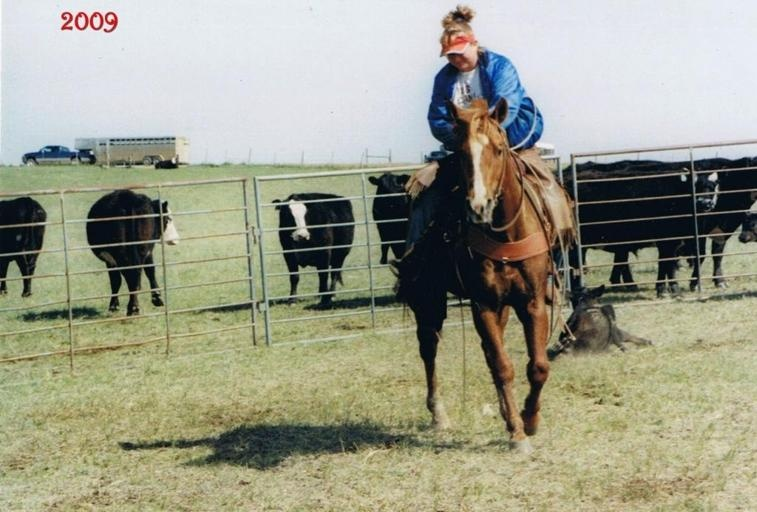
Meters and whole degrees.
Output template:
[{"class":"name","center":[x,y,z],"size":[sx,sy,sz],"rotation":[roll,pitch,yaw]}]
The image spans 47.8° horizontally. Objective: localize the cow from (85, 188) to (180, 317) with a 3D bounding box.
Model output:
[{"class":"cow","center":[-4.361,-0.127,15.076],"size":[1.443,2.117,3.116],"rotation":[-5,6,-19]}]

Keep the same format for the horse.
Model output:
[{"class":"horse","center":[1.378,0.178,10.049],"size":[1.551,3.980,1.385],"rotation":[-6,6,-30]}]

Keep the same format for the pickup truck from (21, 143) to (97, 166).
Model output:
[{"class":"pickup truck","center":[-13.058,-4.104,34.998],"size":[2.609,0.834,2.555],"rotation":[-6,7,-24]}]

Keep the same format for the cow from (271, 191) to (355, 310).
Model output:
[{"class":"cow","center":[-1.113,-0.177,15.676],"size":[1.338,1.913,3.589],"rotation":[-3,6,-3]}]
